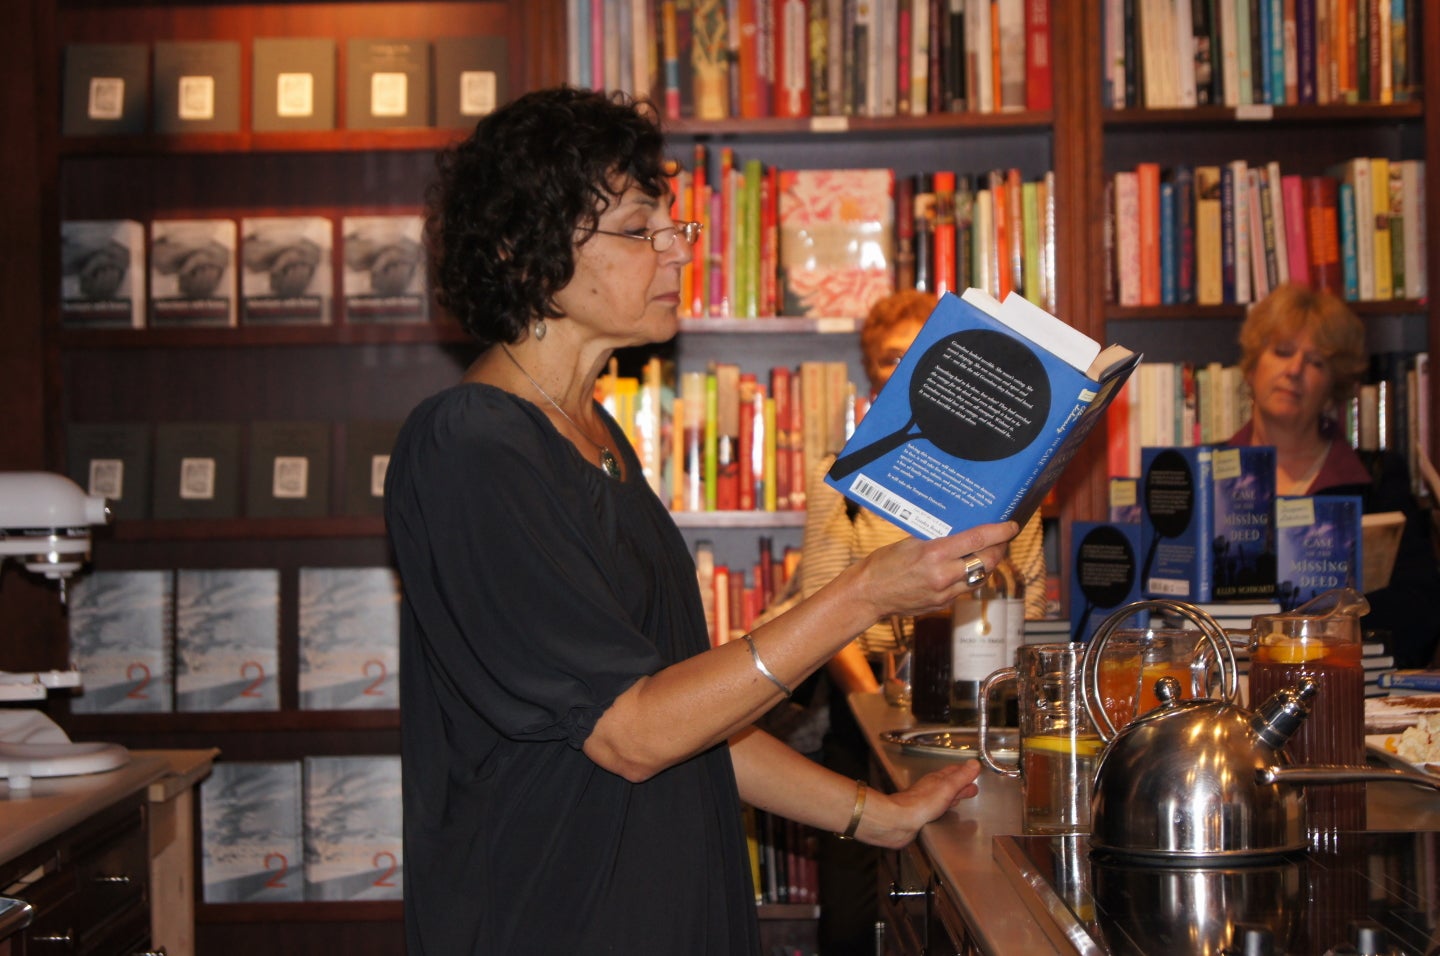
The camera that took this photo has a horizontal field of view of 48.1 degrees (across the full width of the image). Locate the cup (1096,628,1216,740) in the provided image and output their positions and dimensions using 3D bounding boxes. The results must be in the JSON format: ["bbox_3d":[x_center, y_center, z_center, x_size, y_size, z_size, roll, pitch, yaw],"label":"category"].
[{"bbox_3d":[0.843,0.401,3.101,0.207,0.216,0.167,-2,-8,22],"label":"cup"}]

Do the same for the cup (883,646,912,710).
[{"bbox_3d":[0.423,0.475,3.866,0.080,0.117,0.119,1,-4,2],"label":"cup"}]
